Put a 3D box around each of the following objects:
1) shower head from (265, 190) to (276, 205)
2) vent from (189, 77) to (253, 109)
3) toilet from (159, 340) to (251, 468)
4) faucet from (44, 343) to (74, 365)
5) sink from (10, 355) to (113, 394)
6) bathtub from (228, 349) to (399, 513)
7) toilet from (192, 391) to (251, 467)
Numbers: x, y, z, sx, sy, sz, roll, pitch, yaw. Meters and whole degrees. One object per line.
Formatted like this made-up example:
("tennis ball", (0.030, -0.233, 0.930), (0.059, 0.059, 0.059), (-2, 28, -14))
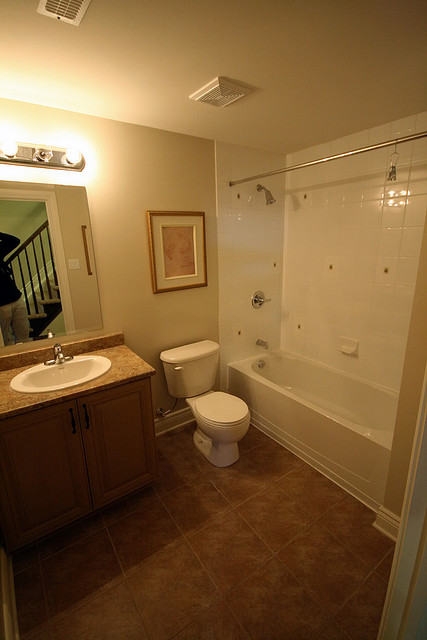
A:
("shower head", (0.433, -0.928, 3.240), (0.072, 0.107, 0.292), (0, 17, 8))
("vent", (0.023, -1.071, 2.027), (0.216, 0.060, 0.267), (-15, 21, -36))
("toilet", (-0.045, 0.587, 2.822), (0.422, 0.692, 0.628), (-13, 23, -27))
("faucet", (-0.847, 0.171, 2.316), (0.155, 0.112, 0.137), (-13, 19, -32))
("sink", (-0.757, 0.272, 2.179), (0.237, 0.083, 0.198), (-16, 18, -30))
("bathtub", (0.753, 0.625, 2.973), (0.642, 0.437, 1.563), (-11, 19, -27))
("toilet", (0.046, 0.707, 2.755), (0.292, 0.323, 0.426), (-10, 18, -26))
